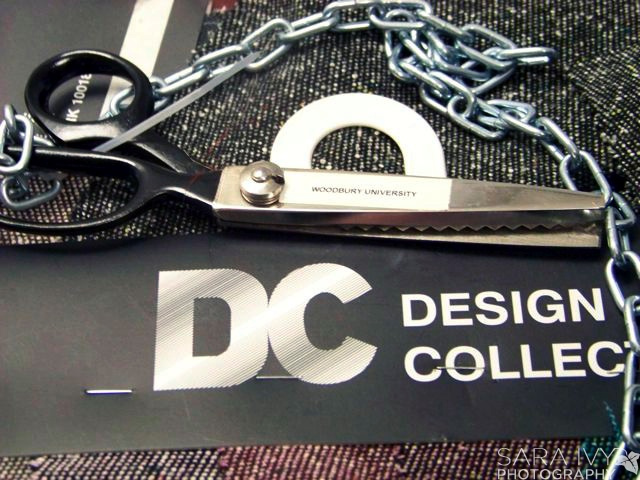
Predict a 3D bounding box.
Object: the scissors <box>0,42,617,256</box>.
[{"bbox_3d":[-0.080,-0.063,0.760,0.703,0.074,0.242,6,51,6],"label":"scissors"}]
